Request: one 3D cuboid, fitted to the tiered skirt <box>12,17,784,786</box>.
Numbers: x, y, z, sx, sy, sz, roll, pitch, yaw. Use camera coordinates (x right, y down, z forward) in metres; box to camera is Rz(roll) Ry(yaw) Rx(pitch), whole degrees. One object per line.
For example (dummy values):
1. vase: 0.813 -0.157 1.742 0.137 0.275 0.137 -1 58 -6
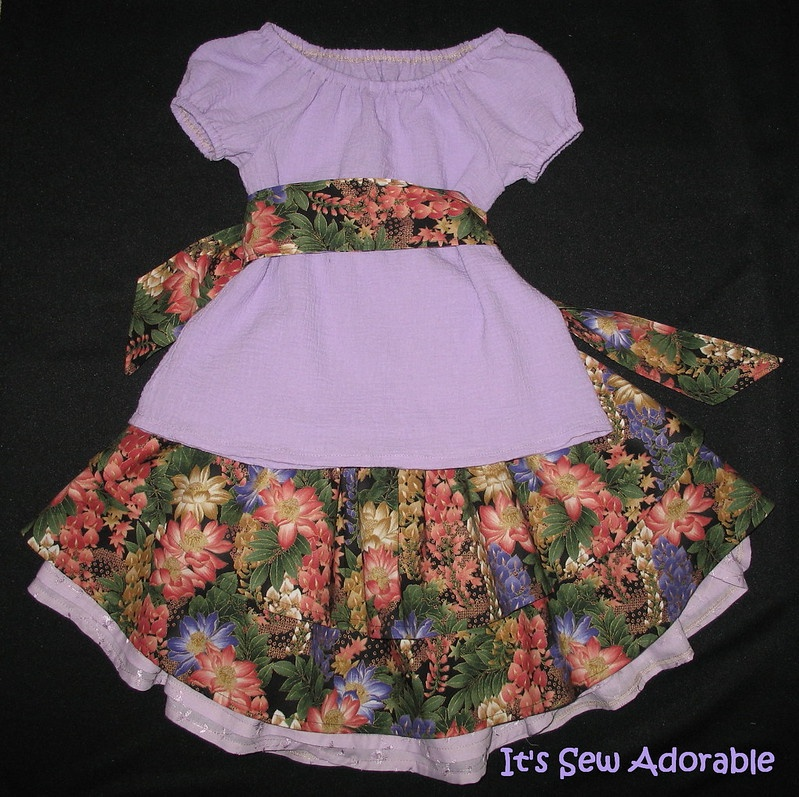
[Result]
1. tiered skirt: -0.025 0.010 1.616 1.062 0.788 0.794 -16 39 -5
